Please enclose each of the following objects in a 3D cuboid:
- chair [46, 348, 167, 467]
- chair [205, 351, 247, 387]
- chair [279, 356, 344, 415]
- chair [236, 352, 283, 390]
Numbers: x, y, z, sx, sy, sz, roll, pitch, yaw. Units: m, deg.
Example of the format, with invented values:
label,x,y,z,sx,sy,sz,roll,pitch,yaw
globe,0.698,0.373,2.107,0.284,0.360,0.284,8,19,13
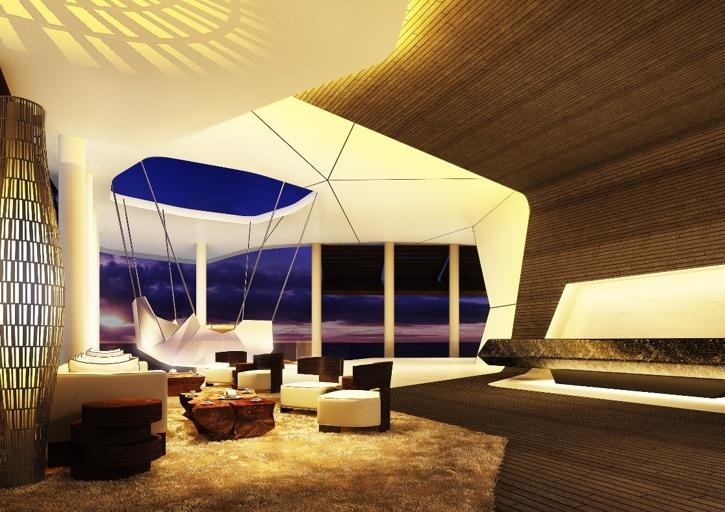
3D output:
label,x,y,z,sx,sy,sz,roll,pitch,yaw
chair,-2.315,1.221,4.372,0.952,0.516,1.513,1,-4,-26
chair,-2.895,2.371,10.070,0.942,0.643,0.820,-4,-11,28
chair,-0.694,1.750,6.718,0.825,0.490,0.695,-5,2,18
chair,-1.895,2.123,8.690,0.933,0.574,0.934,10,-15,-39
